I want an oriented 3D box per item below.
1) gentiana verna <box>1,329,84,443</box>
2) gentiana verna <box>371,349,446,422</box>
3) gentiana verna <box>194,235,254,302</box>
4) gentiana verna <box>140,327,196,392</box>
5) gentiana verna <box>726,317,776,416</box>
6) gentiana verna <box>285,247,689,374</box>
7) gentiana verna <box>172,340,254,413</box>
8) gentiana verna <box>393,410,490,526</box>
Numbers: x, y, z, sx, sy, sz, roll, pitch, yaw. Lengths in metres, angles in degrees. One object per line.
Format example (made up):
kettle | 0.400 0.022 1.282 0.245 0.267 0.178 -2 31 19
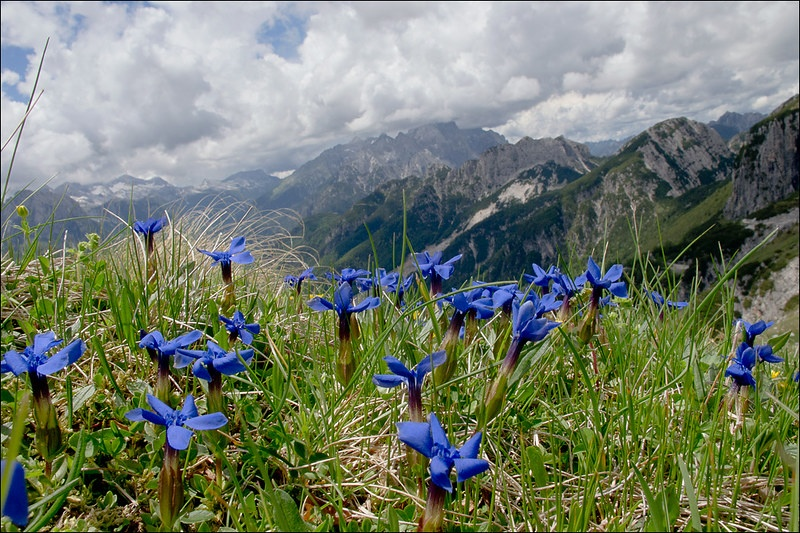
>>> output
gentiana verna | -2.492 0.887 4.104 0.529 0.846 0.418 -11 12 -23
gentiana verna | 0.143 0.914 4.243 0.547 0.541 0.461 11 -10 4
gentiana verna | -2.152 0.023 6.978 0.474 0.676 0.530 34 48 28
gentiana verna | -1.838 0.764 4.499 0.436 0.483 0.467 1 -16 -26
gentiana verna | 2.977 0.808 4.802 0.379 0.871 1.053 2 14 35
gentiana verna | 0.703 0.321 5.114 2.677 0.969 1.652 -5 11 5
gentiana verna | -1.429 0.930 4.415 0.518 0.620 0.554 -1 -2 16
gentiana verna | 0.291 1.471 4.060 0.483 0.739 0.469 -15 47 -23
